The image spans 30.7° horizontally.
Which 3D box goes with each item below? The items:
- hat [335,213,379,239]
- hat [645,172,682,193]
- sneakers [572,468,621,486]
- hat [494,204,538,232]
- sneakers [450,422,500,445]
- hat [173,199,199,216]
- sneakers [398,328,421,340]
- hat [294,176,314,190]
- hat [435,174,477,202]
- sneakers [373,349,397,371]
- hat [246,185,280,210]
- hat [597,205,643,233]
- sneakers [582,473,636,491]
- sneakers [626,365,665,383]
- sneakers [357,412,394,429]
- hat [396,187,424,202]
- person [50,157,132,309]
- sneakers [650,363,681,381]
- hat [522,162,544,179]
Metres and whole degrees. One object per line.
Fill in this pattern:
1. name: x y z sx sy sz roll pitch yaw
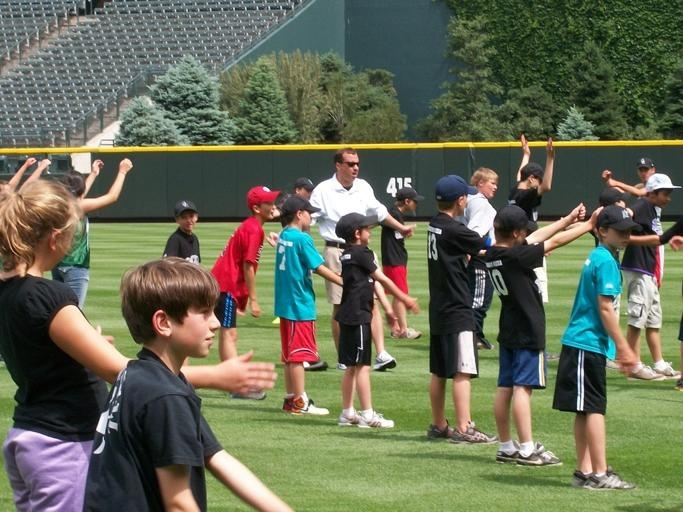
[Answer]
1. hat: 0.203 -0.396 15.697 0.498 0.247 0.312 -34 19 -17
2. hat: 4.332 -1.007 17.159 0.562 0.251 0.388 4 2 24
3. sneakers: 2.836 2.449 13.949 0.568 0.224 0.183 -6 6 -1
4. hat: 2.001 -0.419 14.455 0.462 0.261 0.306 -6 16 -24
5. sneakers: 1.557 2.154 14.998 0.632 0.250 0.215 1 -3 -4
6. hat: -2.160 -0.653 16.982 0.241 0.163 0.313 -9 -1 -18
7. sneakers: 1.033 1.216 19.408 0.371 0.146 0.148 1 1 -2
8. hat: -0.601 -1.051 18.135 0.337 0.170 0.240 0 2 10
9. hat: 1.385 -0.816 15.167 0.479 0.261 0.325 -18 22 -33
10. sneakers: 0.593 1.487 17.460 0.172 0.197 0.425 1 -12 -22
11. hat: -1.077 -0.802 16.686 0.436 0.213 0.279 -18 12 7
12. hat: 3.121 -0.421 14.097 0.428 0.218 0.304 -1 0 44
13. sneakers: 2.928 2.495 13.798 0.576 0.210 0.194 0 -3 -2
14. sneakers: 4.101 1.605 16.930 0.460 0.189 0.190 0 -1 3
15. sneakers: 0.392 2.037 15.442 0.482 0.188 0.180 1 -3 -4
16. hat: 1.082 -1.000 20.073 0.351 0.177 0.219 -2 9 -2
17. person: -3.298 0.012 17.015 1.221 2.612 0.877 3 4 43
18. sneakers: 4.415 1.575 17.056 0.448 0.195 0.177 -2 1 -18
19. hat: 2.812 -1.247 18.378 0.311 0.151 0.221 -3 10 -20
